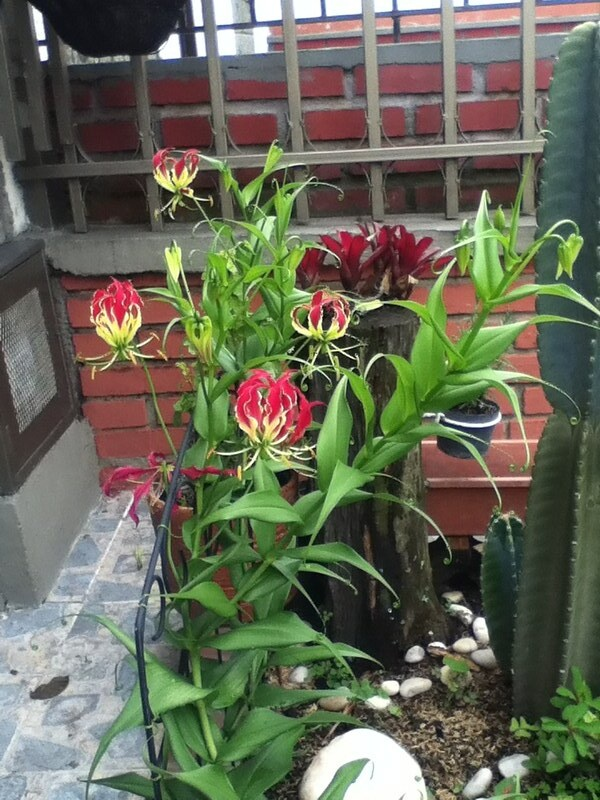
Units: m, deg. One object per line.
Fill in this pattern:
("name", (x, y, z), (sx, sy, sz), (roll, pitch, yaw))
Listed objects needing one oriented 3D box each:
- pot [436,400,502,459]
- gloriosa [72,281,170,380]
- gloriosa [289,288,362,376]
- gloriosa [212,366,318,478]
("pot", (0.411, 0.073, 1.578), (0.137, 0.112, 0.146), (0, 23, 0))
("gloriosa", (-0.191, -0.060, 0.677), (0.091, 0.075, 0.148), (-14, 18, -18))
("gloriosa", (0.028, -0.073, 0.750), (0.070, 0.075, 0.144), (10, -7, 1))
("gloriosa", (-0.022, 0.021, 0.548), (0.066, 0.100, 0.047), (-13, 26, -19))
